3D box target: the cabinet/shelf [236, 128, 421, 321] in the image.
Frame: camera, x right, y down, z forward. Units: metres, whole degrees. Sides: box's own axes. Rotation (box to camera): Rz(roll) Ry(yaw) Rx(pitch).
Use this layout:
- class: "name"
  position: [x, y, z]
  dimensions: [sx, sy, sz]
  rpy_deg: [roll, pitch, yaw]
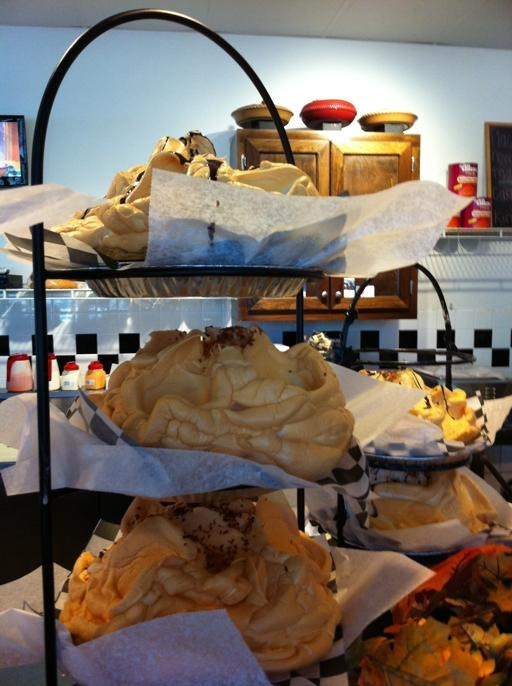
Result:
- class: "cabinet/shelf"
  position: [0.236, -0.477, 2.537]
  dimensions: [0.861, 0.747, 0.284]
  rpy_deg: [-6, 10, -28]
